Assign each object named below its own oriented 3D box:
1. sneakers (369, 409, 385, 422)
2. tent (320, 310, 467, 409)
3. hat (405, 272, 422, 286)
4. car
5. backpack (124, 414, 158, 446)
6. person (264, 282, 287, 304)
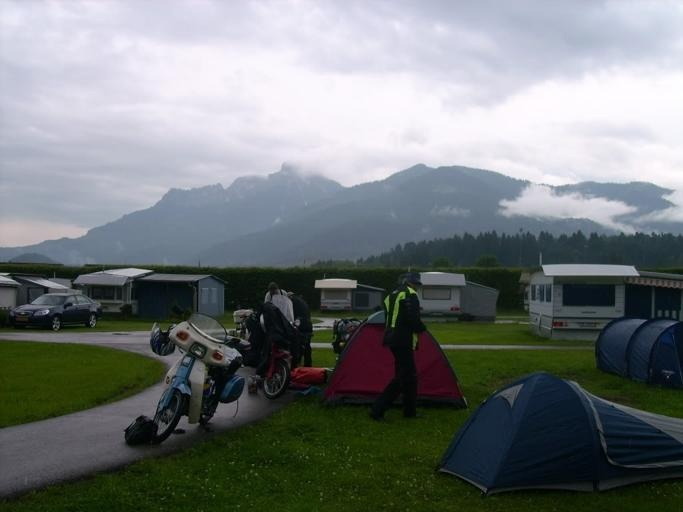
[{"bbox_3d":[0.662,2.958,11.767,0.266,0.204,0.136,1,-3,3],"label":"sneakers"},{"bbox_3d":[1.183,2.142,13.439,2.198,1.397,2.046,0,0,5],"label":"tent"},{"bbox_3d":[1.415,0.426,12.330,0.219,0.231,0.297,-1,-1,17],"label":"hat"},{"bbox_3d":[-12.738,2.429,28.073,1.664,1.580,3.885,0,-4,16],"label":"car"},{"bbox_3d":[-3.301,2.884,10.304,0.416,0.458,0.121,18,-20,12],"label":"backpack"},{"bbox_3d":[-1.580,0.824,14.766,0.359,0.424,1.243,1,-3,-6],"label":"person"}]
